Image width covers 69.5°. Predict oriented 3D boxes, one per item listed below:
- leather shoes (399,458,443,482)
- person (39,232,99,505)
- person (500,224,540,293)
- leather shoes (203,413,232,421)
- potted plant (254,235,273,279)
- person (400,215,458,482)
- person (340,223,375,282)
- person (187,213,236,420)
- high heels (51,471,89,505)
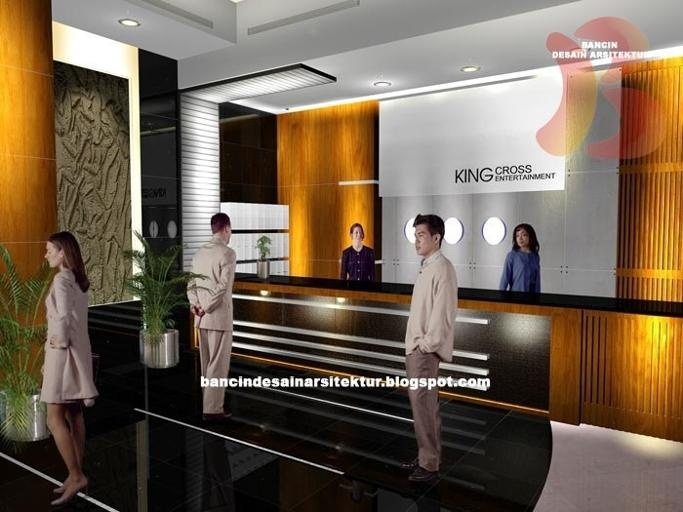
[{"bbox_3d":[0.704,1.950,4.457,0.305,0.151,0.128,3,-4,-11],"label":"leather shoes"},{"bbox_3d":[-2.356,0.909,4.214,0.413,2.171,0.589,-4,8,-32],"label":"person"},{"bbox_3d":[2.645,0.016,7.216,0.533,0.945,0.390,2,7,16],"label":"person"},{"bbox_3d":[-1.382,1.782,5.445,0.299,0.064,0.082,-1,8,-10],"label":"leather shoes"},{"bbox_3d":[-1.196,0.009,7.507,0.182,0.615,0.593,-1,8,-10],"label":"potted plant"},{"bbox_3d":[0.812,0.814,4.465,0.429,2.320,0.535,2,7,11],"label":"person"},{"bbox_3d":[0.291,-0.062,8.050,0.549,0.905,0.336,0,7,0],"label":"person"},{"bbox_3d":[-1.451,0.657,5.557,0.499,2.239,0.551,-2,7,-16],"label":"person"},{"bbox_3d":[-2.264,1.952,4.149,0.324,0.157,0.111,-19,-8,-39],"label":"high heels"}]
